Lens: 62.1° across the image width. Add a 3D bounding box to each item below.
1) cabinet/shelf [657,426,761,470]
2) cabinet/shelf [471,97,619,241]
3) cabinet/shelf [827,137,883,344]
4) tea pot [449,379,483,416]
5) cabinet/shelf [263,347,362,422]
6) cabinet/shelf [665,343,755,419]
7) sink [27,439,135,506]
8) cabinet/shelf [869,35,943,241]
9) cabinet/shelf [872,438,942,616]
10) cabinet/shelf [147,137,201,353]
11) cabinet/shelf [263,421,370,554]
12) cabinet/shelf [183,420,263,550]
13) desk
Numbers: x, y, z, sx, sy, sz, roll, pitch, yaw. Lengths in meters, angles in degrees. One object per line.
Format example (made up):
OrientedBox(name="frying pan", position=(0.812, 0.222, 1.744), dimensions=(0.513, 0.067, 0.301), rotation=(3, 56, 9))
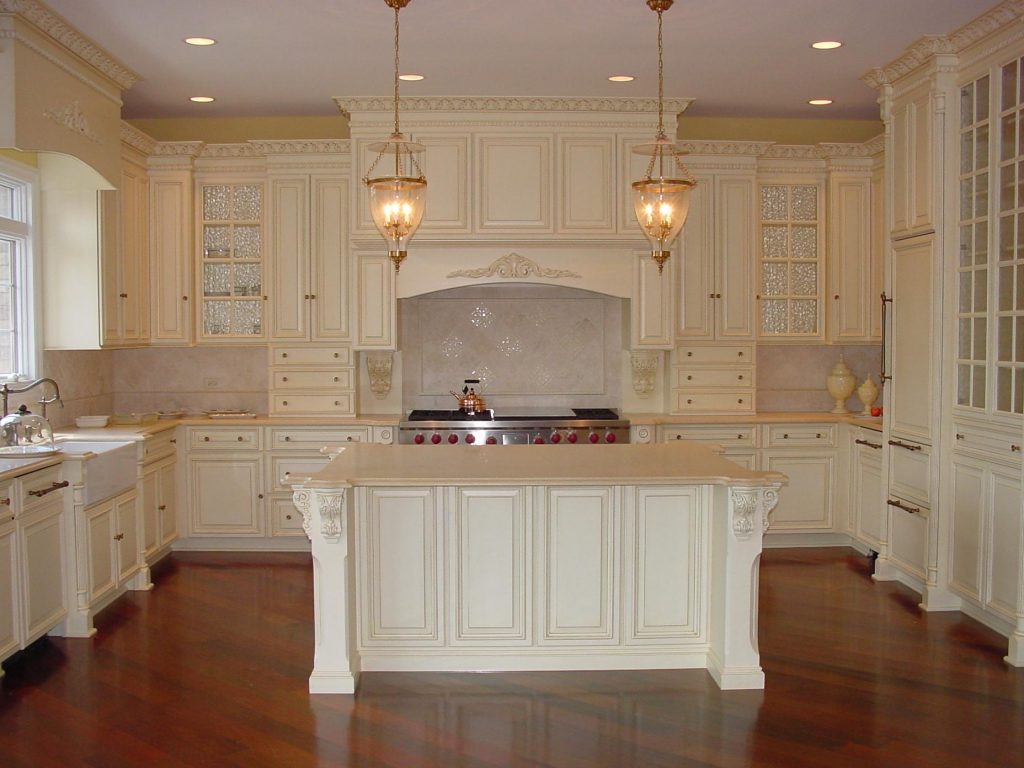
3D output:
OrientedBox(name="cabinet/shelf", position=(1.407, 0.439, 6.097), dimensions=(0.471, 0.337, 0.149), rotation=(0, -1, -2))
OrientedBox(name="cabinet/shelf", position=(0.174, -1.698, 7.151), dimensions=(1.312, 0.852, 0.621), rotation=(-5, 14, -21))
OrientedBox(name="cabinet/shelf", position=(2.989, -1.224, 7.362), dimensions=(0.483, 1.702, 0.252), rotation=(1, 9, 9))
OrientedBox(name="tea pot", position=(-0.362, 0.113, 7.396), dimensions=(0.256, 0.264, 0.351), rotation=(1, -3, -10))
OrientedBox(name="cabinet/shelf", position=(-1.614, -0.030, 7.424), dimensions=(0.922, 0.650, 0.505), rotation=(0, 2, 28))
OrientedBox(name="cabinet/shelf", position=(1.722, -0.044, 7.314), dimensions=(0.821, 0.561, 0.350), rotation=(0, -2, -1))
OrientedBox(name="sink", position=(-2.854, 0.568, 5.549), dimensions=(0.465, 0.249, 0.557), rotation=(0, 3, -3))
OrientedBox(name="cabinet/shelf", position=(2.695, -1.637, 5.846), dimensions=(0.307, 1.208, 0.731), rotation=(1, 9, 6))
OrientedBox(name="cabinet/shelf", position=(2.773, 0.912, 5.902), dimensions=(0.208, 1.118, 0.721), rotation=(1, 9, 4))
OrientedBox(name="cabinet/shelf", position=(-2.978, -1.132, 7.261), dimensions=(0.504, 1.567, 0.318), rotation=(-1, 10, -30))
OrientedBox(name="cabinet/shelf", position=(-1.554, 0.854, 7.142), dimensions=(1.032, 1.038, 0.433), rotation=(-1, -16, 11))
OrientedBox(name="cabinet/shelf", position=(-2.225, 0.819, 7.306), dimensions=(0.894, 0.957, 0.783), rotation=(-3, -4, 16))
OrientedBox(name="desk", position=(-0.036, 1.114, 5.174), dimensions=(2.862, 1.022, 1.577), rotation=(3, -9, -21))
